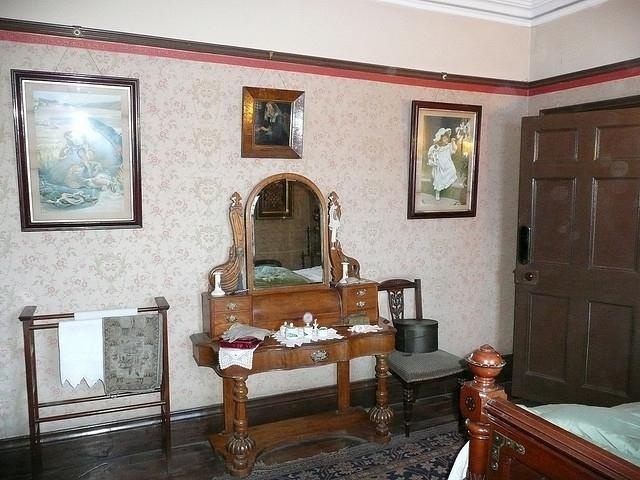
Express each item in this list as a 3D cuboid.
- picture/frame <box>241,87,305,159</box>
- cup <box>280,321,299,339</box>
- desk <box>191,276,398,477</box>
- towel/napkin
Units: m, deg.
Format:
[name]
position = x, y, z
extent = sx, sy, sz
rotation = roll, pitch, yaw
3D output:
[picture/frame]
position = -0.396, -0.970, 3.903
extent = 0.578, 0.536, 0.065
rotation = 10, 16, 24
[cup]
position = -0.232, 0.686, 3.612
extent = 0.098, 0.087, 0.130
rotation = 3, 0, -9
[desk]
position = -0.253, 1.083, 3.740
extent = 1.398, 1.065, 0.628
rotation = -3, 4, -27
[towel/napkin]
position = -1.492, 0.785, 3.350
extent = 0.713, 0.613, 0.117
rotation = -2, 7, -15
